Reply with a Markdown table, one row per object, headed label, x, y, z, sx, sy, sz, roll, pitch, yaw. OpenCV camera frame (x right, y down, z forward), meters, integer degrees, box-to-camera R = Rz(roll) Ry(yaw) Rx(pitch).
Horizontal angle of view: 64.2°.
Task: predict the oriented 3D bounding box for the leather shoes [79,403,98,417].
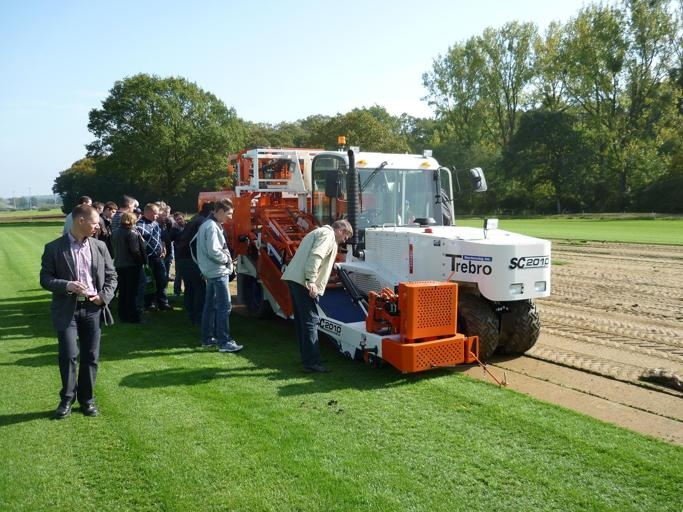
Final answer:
| label | x | y | z | sx | sy | sz | roll | pitch | yaw |
| --- | --- | --- | --- | --- | --- | --- | --- | --- | --- |
| leather shoes | -2.819 | 1.701 | 6.056 | 0.095 | 0.125 | 0.254 | 0 | -2 | -43 |

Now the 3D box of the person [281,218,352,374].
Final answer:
| label | x | y | z | sx | sy | sz | roll | pitch | yaw |
| --- | --- | --- | --- | --- | --- | --- | --- | --- | --- |
| person | -0.371 | 0.526 | 7.249 | 0.816 | 1.959 | 0.498 | -1 | 11 | -7 |

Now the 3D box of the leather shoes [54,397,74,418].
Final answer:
| label | x | y | z | sx | sy | sz | roll | pitch | yaw |
| --- | --- | --- | --- | --- | --- | --- | --- | --- | --- |
| leather shoes | -3.052 | 1.677 | 5.995 | 0.128 | 0.155 | 0.344 | 6 | -15 | -19 |

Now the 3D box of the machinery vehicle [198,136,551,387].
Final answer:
| label | x | y | z | sx | sy | sz | roll | pitch | yaw |
| --- | --- | --- | --- | --- | --- | --- | --- | --- | --- |
| machinery vehicle | 0.442 | -0.054 | 9.242 | 3.359 | 3.046 | 5.915 | -3 | 5 | -31 |

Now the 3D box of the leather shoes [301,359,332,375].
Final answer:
| label | x | y | z | sx | sy | sz | roll | pitch | yaw |
| --- | --- | --- | --- | --- | --- | --- | --- | --- | --- |
| leather shoes | -0.333 | 1.475 | 7.277 | 0.384 | 0.180 | 0.150 | 1 | 0 | -3 |

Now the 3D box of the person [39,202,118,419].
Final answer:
| label | x | y | z | sx | sy | sz | roll | pitch | yaw |
| --- | --- | --- | --- | --- | --- | --- | --- | --- | --- |
| person | -2.826 | 0.589 | 5.934 | 0.725 | 2.302 | 0.468 | -7 | 13 | -32 |

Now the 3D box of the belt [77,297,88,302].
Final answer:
| label | x | y | z | sx | sy | sz | roll | pitch | yaw |
| --- | --- | --- | --- | --- | --- | --- | --- | --- | --- |
| belt | -2.779 | 0.456 | 5.819 | 0.067 | 0.051 | 0.047 | 2 | 12 | -18 |

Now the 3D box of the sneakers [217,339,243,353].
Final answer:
| label | x | y | z | sx | sy | sz | roll | pitch | yaw |
| --- | --- | --- | --- | --- | --- | --- | --- | --- | --- |
| sneakers | -1.657 | 1.343 | 8.140 | 0.364 | 0.189 | 0.158 | -1 | 1 | -9 |
